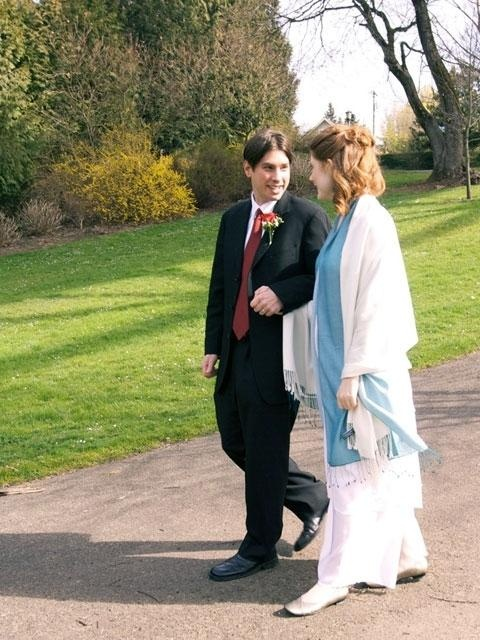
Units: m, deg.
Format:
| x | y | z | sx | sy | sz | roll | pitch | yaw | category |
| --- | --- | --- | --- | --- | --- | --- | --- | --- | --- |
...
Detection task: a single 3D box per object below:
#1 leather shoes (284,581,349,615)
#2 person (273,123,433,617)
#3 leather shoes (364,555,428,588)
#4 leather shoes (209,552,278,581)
| x | y | z | sx | sy | sz | roll | pitch | yaw | category |
| --- | --- | --- | --- | --- | --- | --- | --- | --- | --- |
| 0.364 | 1.335 | 4.233 | 0.329 | 0.136 | 0.116 | -15 | 14 | -12 | leather shoes |
| 0.537 | 0.220 | 4.158 | 0.629 | 2.246 | 0.529 | -7 | 12 | 7 | person |
| 0.781 | 1.243 | 4.301 | 0.364 | 0.138 | 0.120 | -1 | -6 | -20 | leather shoes |
| 0.016 | 1.273 | 4.557 | 0.332 | 0.126 | 0.119 | -7 | -2 | -14 | leather shoes |
